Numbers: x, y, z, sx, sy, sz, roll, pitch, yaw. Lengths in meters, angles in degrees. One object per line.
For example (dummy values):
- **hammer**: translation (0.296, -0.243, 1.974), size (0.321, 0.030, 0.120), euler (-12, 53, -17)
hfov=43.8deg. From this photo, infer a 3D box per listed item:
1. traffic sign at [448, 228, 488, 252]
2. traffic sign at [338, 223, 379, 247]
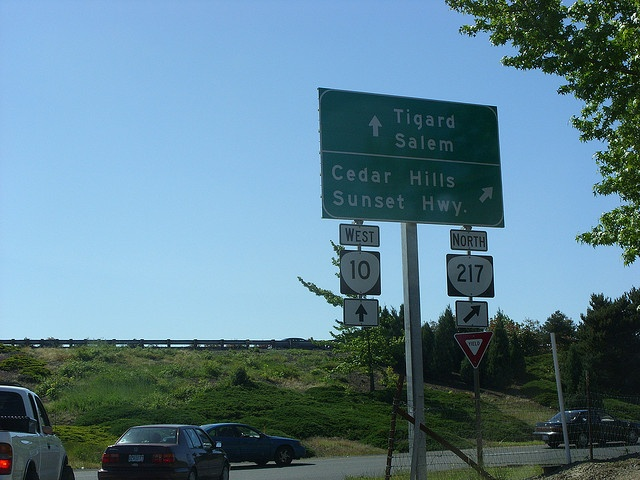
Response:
- **traffic sign**: translation (4.374, 0.064, 23.665), size (0.732, 0.546, 0.108), euler (2, -7, -8)
- **traffic sign**: translation (1.071, -0.099, 22.874), size (0.841, 0.588, 0.091), euler (-1, -5, -11)
